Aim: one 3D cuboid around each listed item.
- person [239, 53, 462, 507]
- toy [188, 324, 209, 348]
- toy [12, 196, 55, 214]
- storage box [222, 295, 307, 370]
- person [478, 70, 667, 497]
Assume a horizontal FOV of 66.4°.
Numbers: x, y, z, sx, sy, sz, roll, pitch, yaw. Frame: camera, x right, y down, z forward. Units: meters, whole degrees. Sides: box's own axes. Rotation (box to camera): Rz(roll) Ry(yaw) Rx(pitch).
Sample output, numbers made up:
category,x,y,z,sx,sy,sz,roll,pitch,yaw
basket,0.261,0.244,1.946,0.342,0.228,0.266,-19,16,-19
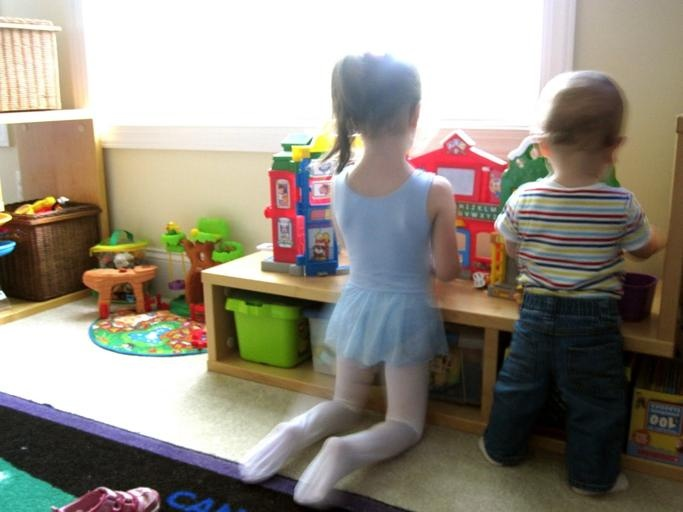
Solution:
category,x,y,z,sx,sy,sz,roll,pitch,yaw
person,0.050,0.019,1.390,0.417,1.070,0.650,8,21,26
toy,-0.589,0.327,2.157,0.080,0.023,0.107,-2,13,-23
toy,-1.485,-0.241,2.553,0.116,0.048,0.142,-12,7,-3
storage box,-0.248,0.241,1.902,0.338,0.211,0.262,4,7,27
person,0.599,0.067,1.323,0.420,1.020,0.355,4,20,16
